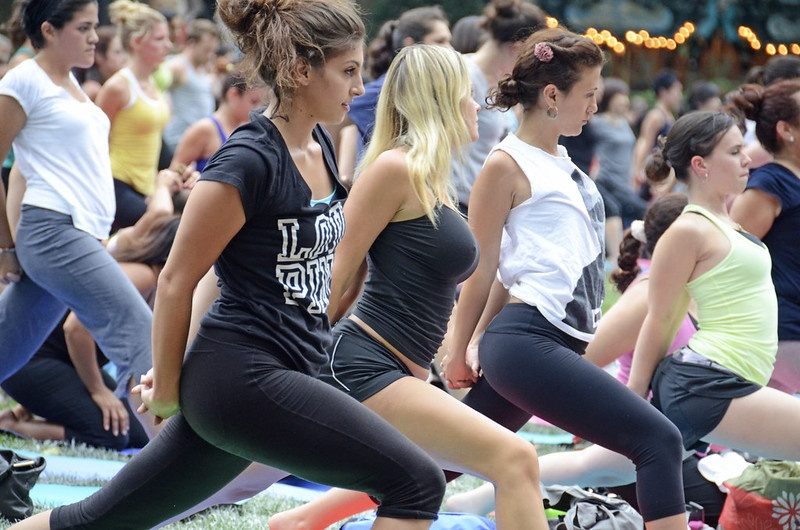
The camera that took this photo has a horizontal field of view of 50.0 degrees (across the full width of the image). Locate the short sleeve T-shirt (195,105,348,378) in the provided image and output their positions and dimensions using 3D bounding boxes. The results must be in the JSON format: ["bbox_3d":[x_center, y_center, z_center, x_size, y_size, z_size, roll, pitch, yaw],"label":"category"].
[{"bbox_3d":[-0.567,-0.040,3.811,0.534,1.073,0.952,1,-2,13],"label":"short sleeve T-shirt"}]

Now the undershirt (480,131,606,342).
[{"bbox_3d":[0.817,-0.160,4.677,0.600,1.013,0.706,-2,0,19],"label":"undershirt"}]

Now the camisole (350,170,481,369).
[{"bbox_3d":[0.083,0.045,4.369,0.621,0.890,0.628,15,-5,-13],"label":"camisole"}]

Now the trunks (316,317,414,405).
[{"bbox_3d":[-0.164,0.458,3.980,0.300,0.241,0.175,40,-28,5],"label":"trunks"}]

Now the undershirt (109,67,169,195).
[{"bbox_3d":[-2.149,-1.049,7.066,0.491,0.970,0.602,5,4,28],"label":"undershirt"}]
